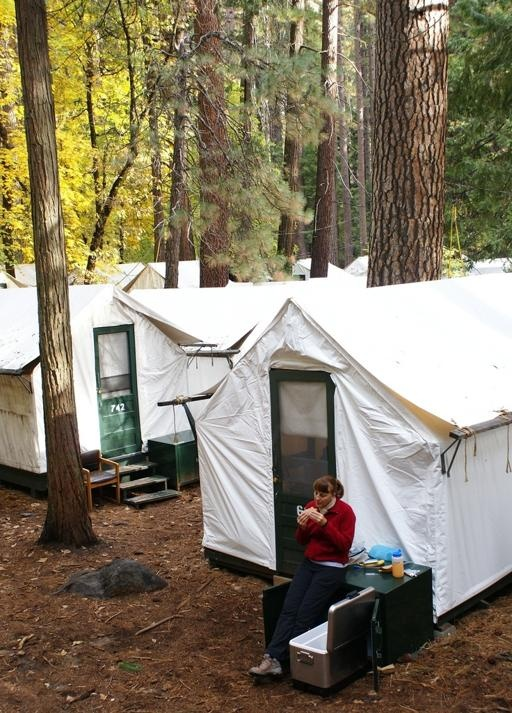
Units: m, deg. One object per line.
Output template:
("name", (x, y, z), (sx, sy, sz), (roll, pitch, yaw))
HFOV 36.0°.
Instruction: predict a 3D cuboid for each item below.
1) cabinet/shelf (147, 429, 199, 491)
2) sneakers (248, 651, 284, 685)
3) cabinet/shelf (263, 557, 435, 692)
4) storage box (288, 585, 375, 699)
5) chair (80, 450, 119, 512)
("cabinet/shelf", (-1.217, 1.605, 11.930), (0.490, 0.672, 0.719), (-3, 0, 25))
("sneakers", (0.035, 2.228, 5.621), (0.338, 0.235, 0.117), (6, -13, -31))
("cabinet/shelf", (0.674, 1.964, 5.877), (1.174, 0.602, 0.836), (-15, -1, -13))
("storage box", (0.546, 1.939, 5.495), (0.411, 0.657, 0.528), (2, 5, 42))
("chair", (-2.227, 1.702, 10.940), (0.656, 0.678, 0.619), (-3, 9, -22))
